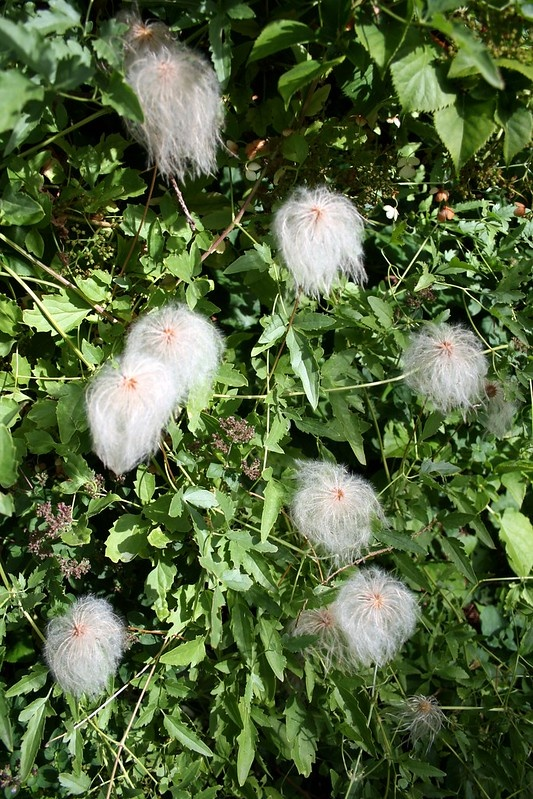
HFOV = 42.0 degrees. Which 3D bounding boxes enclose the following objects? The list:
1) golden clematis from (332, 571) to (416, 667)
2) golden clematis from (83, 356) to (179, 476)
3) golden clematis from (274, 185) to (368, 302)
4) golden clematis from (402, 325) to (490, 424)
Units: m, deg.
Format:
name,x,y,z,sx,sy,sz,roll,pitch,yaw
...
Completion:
name,x,y,z,sx,sy,sz,roll,pitch,yaw
golden clematis,0.179,0.347,1.184,0.158,0.048,0.161,26,23,36
golden clematis,-0.196,0.017,0.978,0.138,0.072,0.165,9,87,-4
golden clematis,0.075,-0.244,1.147,0.176,0.084,0.178,-13,95,-14
golden clematis,0.324,-0.032,1.224,0.167,0.056,0.170,-4,83,1
